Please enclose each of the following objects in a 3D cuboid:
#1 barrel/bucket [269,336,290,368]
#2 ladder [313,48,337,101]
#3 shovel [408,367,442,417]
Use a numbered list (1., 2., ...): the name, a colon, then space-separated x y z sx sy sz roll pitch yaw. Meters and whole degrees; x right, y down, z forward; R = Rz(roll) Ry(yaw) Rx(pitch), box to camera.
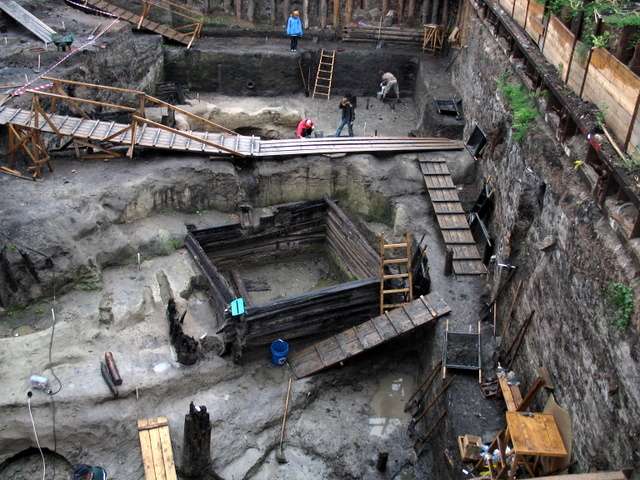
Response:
1. barrel/bucket: -0.790 2.205 8.767 0.367 0.474 0.310 -5 35 -8
2. ladder: 0.206 -6.189 16.534 0.689 1.490 0.894 5 35 7
3. shovel: 1.972 2.793 8.356 0.664 0.919 0.513 4 26 2
